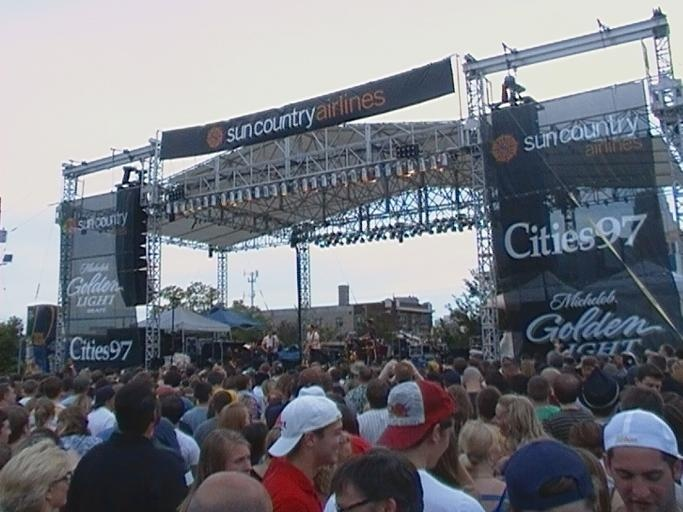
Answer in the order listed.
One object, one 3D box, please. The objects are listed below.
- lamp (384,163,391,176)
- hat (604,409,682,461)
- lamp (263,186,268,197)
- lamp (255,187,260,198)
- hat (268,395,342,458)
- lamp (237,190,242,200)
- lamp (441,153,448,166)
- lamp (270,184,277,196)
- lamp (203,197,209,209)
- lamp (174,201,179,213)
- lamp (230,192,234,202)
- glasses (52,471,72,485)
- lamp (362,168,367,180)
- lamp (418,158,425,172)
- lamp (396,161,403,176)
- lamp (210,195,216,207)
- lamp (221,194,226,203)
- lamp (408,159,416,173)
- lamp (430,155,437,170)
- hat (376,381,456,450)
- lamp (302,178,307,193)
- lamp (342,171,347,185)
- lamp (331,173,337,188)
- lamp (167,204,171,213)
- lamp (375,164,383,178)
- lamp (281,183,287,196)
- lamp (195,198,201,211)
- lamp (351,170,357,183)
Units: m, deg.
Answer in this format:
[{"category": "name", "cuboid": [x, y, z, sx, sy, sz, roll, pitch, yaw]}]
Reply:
[{"category": "lamp", "cuboid": [1.219, -2.282, 18.779, 0.158, 0.243, 0.443, -3, -9, 5]}, {"category": "hat", "cuboid": [2.065, 1.227, 5.047, 0.322, 0.237, 0.435, -10, 0, 23]}, {"category": "lamp", "cuboid": [-2.053, -1.821, 19.932, 0.149, 0.247, 0.261, -2, -9, -7]}, {"category": "lamp", "cuboid": [-2.334, -1.805, 20.153, 0.156, 0.236, 0.265, -2, -9, -6]}, {"category": "hat", "cuboid": [-0.314, 1.293, 5.637, 0.556, 0.309, 0.368, -28, 9, -17]}, {"category": "lamp", "cuboid": [-2.837, -1.730, 20.423, 0.139, 0.280, 0.271, -2, -8, -2]}, {"category": "lamp", "cuboid": [2.550, -2.420, 18.045, 0.174, 0.283, 0.255, -4, -9, 11]}, {"category": "lamp", "cuboid": [-1.811, -1.839, 19.677, 0.155, 0.261, 0.263, 1, -9, -22]}, {"category": "lamp", "cuboid": [-3.923, -1.601, 20.939, 0.157, 0.237, 0.425, -1, -9, -11]}, {"category": "lamp", "cuboid": [-4.851, -1.475, 21.488, 0.133, 0.287, 0.317, -3, -9, 1]}, {"category": "lamp", "cuboid": [-3.051, -1.699, 20.416, 0.129, 0.282, 0.289, -3, -9, 4]}, {"category": "glasses", "cuboid": [-2.163, 1.711, 5.593, 0.108, 0.037, 0.110, -8, -7, 17]}, {"category": "lamp", "cuboid": [0.605, -2.145, 18.806, 0.155, 0.326, 0.302, -3, -8, 0]}, {"category": "lamp", "cuboid": [2.036, -2.367, 18.367, 0.128, 0.390, 0.488, -4, -9, 12]}, {"category": "lamp", "cuboid": [1.479, -2.276, 18.400, 0.174, 0.331, 0.235, -3, -8, 3]}, {"category": "lamp", "cuboid": [-3.639, -1.622, 20.741, 0.181, 0.219, 0.361, -1, -9, -12]}, {"category": "lamp", "cuboid": [-3.316, -1.658, 20.510, 0.186, 0.300, 0.215, -1, -9, -10]}, {"category": "lamp", "cuboid": [1.781, -2.323, 18.398, 0.247, 0.409, 0.259, -4, -17, 9]}, {"category": "lamp", "cuboid": [2.304, -2.374, 18.153, 0.233, 0.309, 0.185, -7, -9, 27]}, {"category": "hat", "cuboid": [0.567, 1.199, 5.547, 0.396, 0.303, 0.553, -5, 19, 48]}, {"category": "lamp", "cuboid": [-0.968, -1.949, 19.437, 0.150, 0.309, 0.320, -2, -9, -4]}, {"category": "lamp", "cuboid": [0.091, -2.084, 19.026, 0.152, 0.356, 0.426, -3, -9, 2]}, {"category": "lamp", "cuboid": [-0.181, -2.060, 19.106, 0.147, 0.322, 0.312, -2, -8, -1]}, {"category": "lamp", "cuboid": [-5.101, -1.433, 21.589, 0.150, 0.268, 0.405, 1, -9, -21]}, {"category": "lamp", "cuboid": [0.952, -2.255, 19.093, 0.217, 0.418, 0.216, -3, -6, 33]}, {"category": "lamp", "cuboid": [-1.538, -1.885, 19.657, 0.152, 0.295, 0.280, -2, -8, -3]}, {"category": "lamp", "cuboid": [-4.149, -1.560, 21.195, 0.162, 0.258, 0.523, 0, -9, -15]}, {"category": "lamp", "cuboid": [0.326, -2.129, 18.966, 0.172, 0.333, 0.455, -3, -9, 1]}]
